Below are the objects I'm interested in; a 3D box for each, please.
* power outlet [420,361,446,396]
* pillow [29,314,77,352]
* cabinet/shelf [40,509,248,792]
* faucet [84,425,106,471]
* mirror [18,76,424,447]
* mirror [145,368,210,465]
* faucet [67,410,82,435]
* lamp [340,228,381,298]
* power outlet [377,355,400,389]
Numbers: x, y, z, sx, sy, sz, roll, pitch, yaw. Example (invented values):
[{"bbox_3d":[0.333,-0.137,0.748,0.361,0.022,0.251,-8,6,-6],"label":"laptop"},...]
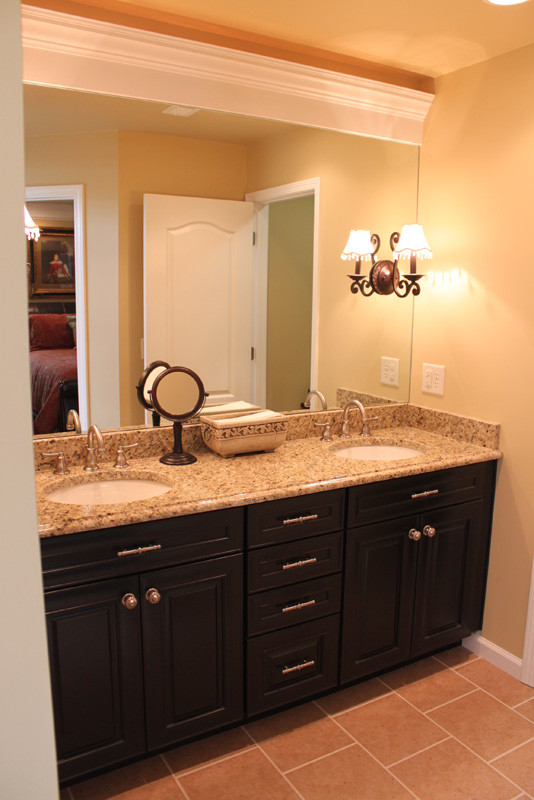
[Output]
[{"bbox_3d":[0.727,-0.101,2.619,0.013,0.139,0.114,-7,18,-29],"label":"power outlet"},{"bbox_3d":[-0.688,-0.218,1.898,0.062,0.116,0.174,4,8,24],"label":"pillow"},{"bbox_3d":[-0.433,0.671,1.836,0.626,0.748,0.428,-3,8,-22],"label":"cabinet/shelf"},{"bbox_3d":[-0.562,0.149,1.949,0.053,0.145,0.185,-2,8,-16],"label":"faucet"},{"bbox_3d":[-0.181,-0.525,2.130,1.357,1.093,0.064,-5,15,-28],"label":"mirror"},{"bbox_3d":[-0.316,0.047,2.137,0.194,0.346,0.127,0,-8,-10],"label":"mirror"},{"bbox_3d":[-0.644,0.072,1.998,0.025,0.064,0.099,-5,20,-30],"label":"faucet"},{"bbox_3d":[0.418,-0.592,2.575,0.178,0.273,0.129,-2,9,-41],"label":"lamp"},{"bbox_3d":[0.536,-0.137,2.690,0.126,0.184,0.018,-7,13,-33],"label":"power outlet"}]
